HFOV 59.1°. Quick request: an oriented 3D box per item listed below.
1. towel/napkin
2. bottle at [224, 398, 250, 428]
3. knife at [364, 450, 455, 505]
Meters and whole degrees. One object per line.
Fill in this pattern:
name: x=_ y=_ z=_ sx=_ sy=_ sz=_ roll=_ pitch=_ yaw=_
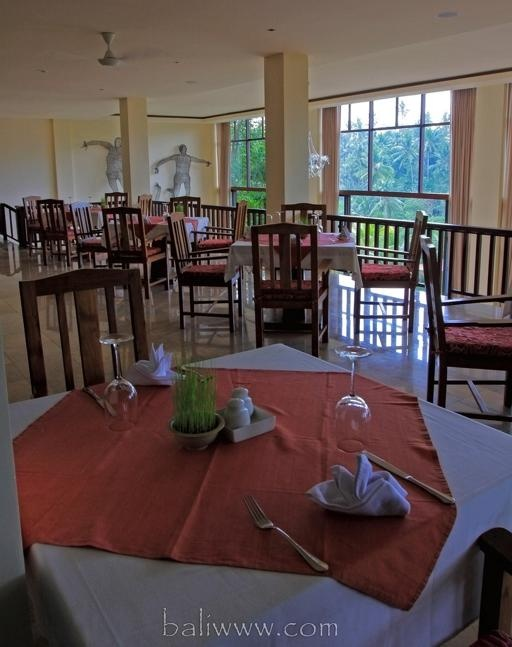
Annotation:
towel/napkin: x=0.168 y=0.254 z=0.755 sx=0.114 sy=0.063 sz=0.106 roll=7 pitch=-13 yaw=-11
bottle: x=-0.040 y=0.199 z=1.003 sx=0.051 sy=0.065 sz=0.055 roll=-2 pitch=3 yaw=0
knife: x=0.277 y=0.270 z=0.861 sx=0.038 sy=0.014 sz=0.224 roll=-7 pitch=19 yaw=-32
